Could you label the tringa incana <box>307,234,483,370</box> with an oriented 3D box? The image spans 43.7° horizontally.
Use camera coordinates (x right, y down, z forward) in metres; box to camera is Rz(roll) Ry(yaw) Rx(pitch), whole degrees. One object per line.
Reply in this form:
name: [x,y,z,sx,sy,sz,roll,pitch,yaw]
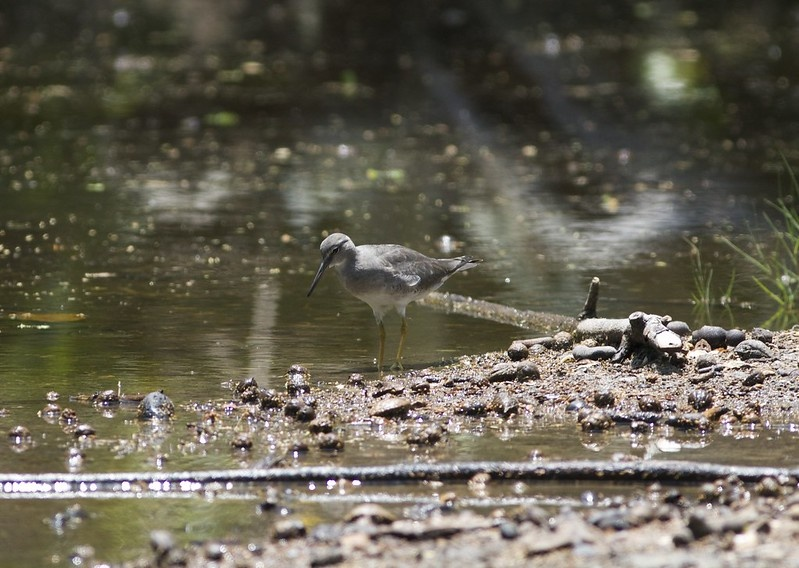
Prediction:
tringa incana: [-0.129,-0.045,8.959,1.955,0.931,0.819,-1,3,-41]
